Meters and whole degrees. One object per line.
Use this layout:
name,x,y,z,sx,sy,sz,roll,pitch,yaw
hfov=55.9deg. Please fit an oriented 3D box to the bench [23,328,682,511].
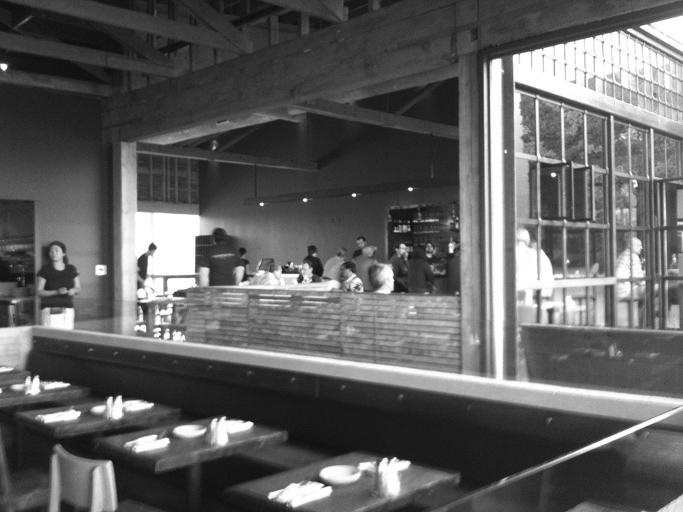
bench,-0.054,0.947,4.111,3.837,0.518,0.496,0,-2,36

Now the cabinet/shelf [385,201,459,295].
cabinet/shelf,1.598,-0.175,12.032,1.808,1.803,0.607,-4,-7,45

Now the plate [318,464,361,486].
plate,-0.011,1.056,3.132,0.204,0.040,0.246,1,-1,-27

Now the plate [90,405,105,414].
plate,-1.604,1.011,4.247,0.067,0.020,0.067,4,3,38
